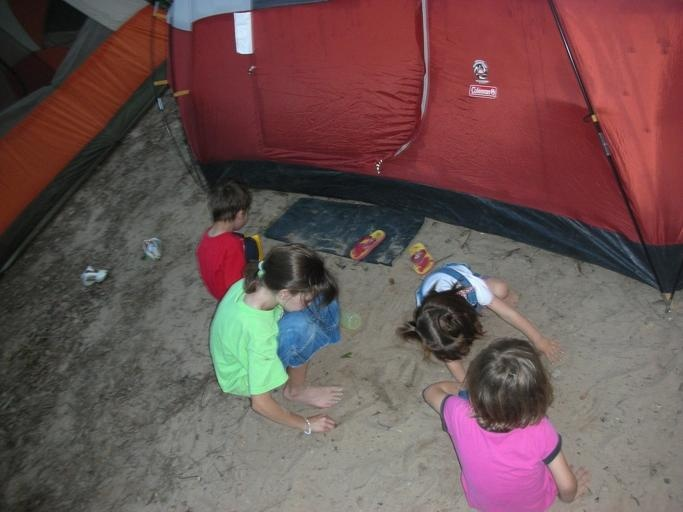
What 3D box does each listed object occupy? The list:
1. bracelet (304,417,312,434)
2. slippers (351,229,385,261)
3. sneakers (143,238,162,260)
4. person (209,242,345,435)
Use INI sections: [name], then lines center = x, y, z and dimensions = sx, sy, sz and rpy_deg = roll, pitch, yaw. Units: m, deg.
[bracelet]
center = -0.196, 1.030, 3.195
dimensions = 0.027, 0.076, 0.096
rpy_deg = -4, 91, -29
[slippers]
center = 0.239, -0.063, 4.272
dimensions = 0.341, 0.081, 0.154
rpy_deg = -39, 52, -14
[sneakers]
center = -1.576, -0.051, 4.429
dimensions = 0.144, 0.060, 0.178
rpy_deg = -2, 81, 8
[person]
center = -0.397, 0.517, 3.076
dimensions = 0.576, 0.659, 0.968
rpy_deg = -7, 47, -20
